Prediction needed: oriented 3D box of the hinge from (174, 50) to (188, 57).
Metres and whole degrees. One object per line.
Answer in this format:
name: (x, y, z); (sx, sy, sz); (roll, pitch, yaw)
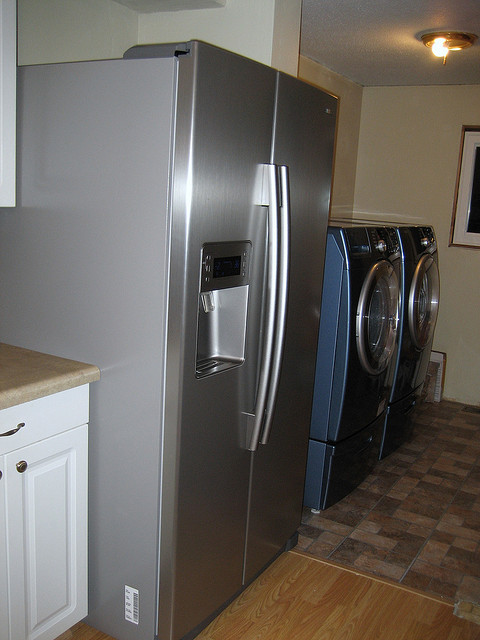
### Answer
hinge: (-0.125, -0.548, 1.054); (0.022, 0.006, 0.014); (-1, 6, -5)
